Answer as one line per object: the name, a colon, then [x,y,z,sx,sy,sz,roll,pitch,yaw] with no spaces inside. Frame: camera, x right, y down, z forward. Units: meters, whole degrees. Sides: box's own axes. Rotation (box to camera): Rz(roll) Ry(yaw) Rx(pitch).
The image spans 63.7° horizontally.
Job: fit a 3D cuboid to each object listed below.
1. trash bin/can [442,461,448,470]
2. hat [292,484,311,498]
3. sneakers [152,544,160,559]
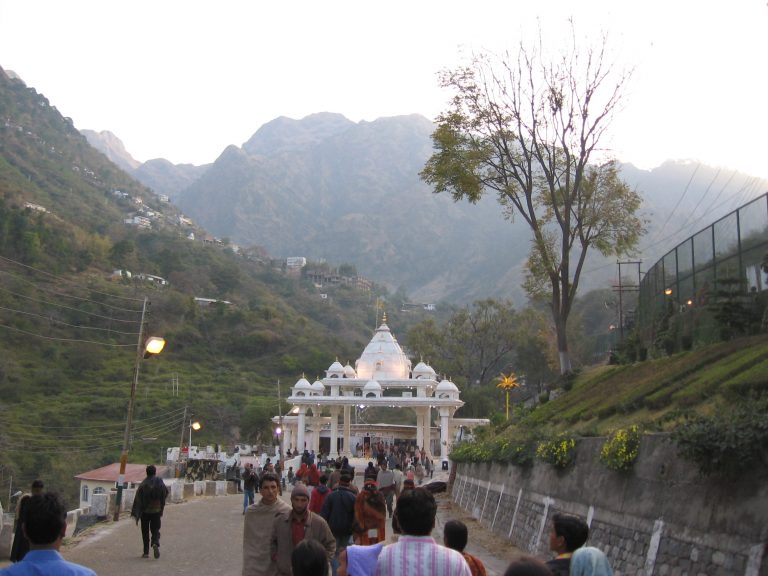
trash bin/can: [4.229,11.944,41.979,0.446,0.491,0.472,-1,-9,2]
hat: [-1.003,2.453,7.472,0.174,0.204,0.255,4,-18,-5]
sneakers: [-4.337,4.982,11.760,0.118,0.281,0.113,-3,0,-9]
